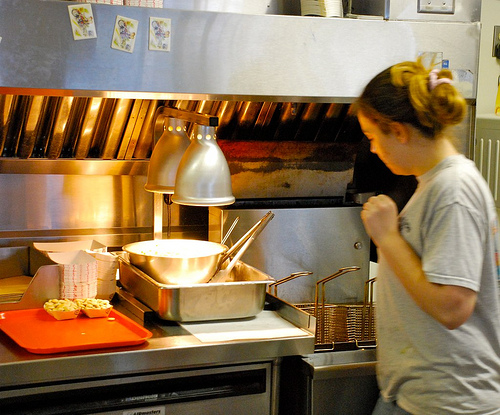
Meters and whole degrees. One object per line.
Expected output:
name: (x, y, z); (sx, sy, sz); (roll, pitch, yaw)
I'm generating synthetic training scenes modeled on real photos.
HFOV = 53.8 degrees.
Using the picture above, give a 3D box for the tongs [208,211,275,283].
tongs: (-0.061, 0.129, 2.017); (0.266, 0.277, 0.221); (0, 13, -22)

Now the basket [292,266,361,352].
basket: (0.318, 0.424, 2.089); (0.340, 0.279, 0.190); (5, -8, -36)

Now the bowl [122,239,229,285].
bowl: (-0.284, 0.209, 1.954); (0.419, 0.115, 0.344); (10, 11, 43)
